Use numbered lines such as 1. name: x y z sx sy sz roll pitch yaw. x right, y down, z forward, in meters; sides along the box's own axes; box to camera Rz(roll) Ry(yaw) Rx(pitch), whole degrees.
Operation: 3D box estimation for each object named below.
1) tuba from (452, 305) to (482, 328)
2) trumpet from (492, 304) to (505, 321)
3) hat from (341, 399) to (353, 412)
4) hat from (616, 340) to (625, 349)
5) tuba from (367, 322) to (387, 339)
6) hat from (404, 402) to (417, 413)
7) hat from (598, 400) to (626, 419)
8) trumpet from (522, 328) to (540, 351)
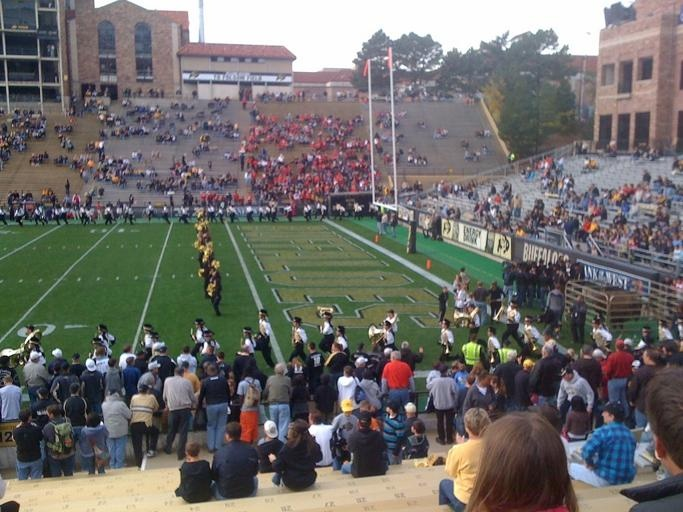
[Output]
1. tuba: 3.847 1.909 25.550 0.697 0.371 0.722 10 6 28
2. trumpet: 5.074 1.861 27.082 0.340 0.504 0.207 27 -8 -26
3. hat: 0.130 3.000 16.857 0.200 0.151 0.280 -1 5 -8
4. hat: 6.336 2.026 19.121 0.138 0.155 0.242 5 -30 16
5. tuba: 0.991 2.129 23.455 0.356 0.500 1.032 -2 5 -1
6. hat: 1.408 3.049 16.892 0.202 0.168 0.209 -1 -2 5
7. hat: 4.783 2.707 14.846 0.329 0.273 0.458 4 17 -30
8. trumpet: 5.086 2.285 22.654 0.235 0.212 0.750 14 11 5
